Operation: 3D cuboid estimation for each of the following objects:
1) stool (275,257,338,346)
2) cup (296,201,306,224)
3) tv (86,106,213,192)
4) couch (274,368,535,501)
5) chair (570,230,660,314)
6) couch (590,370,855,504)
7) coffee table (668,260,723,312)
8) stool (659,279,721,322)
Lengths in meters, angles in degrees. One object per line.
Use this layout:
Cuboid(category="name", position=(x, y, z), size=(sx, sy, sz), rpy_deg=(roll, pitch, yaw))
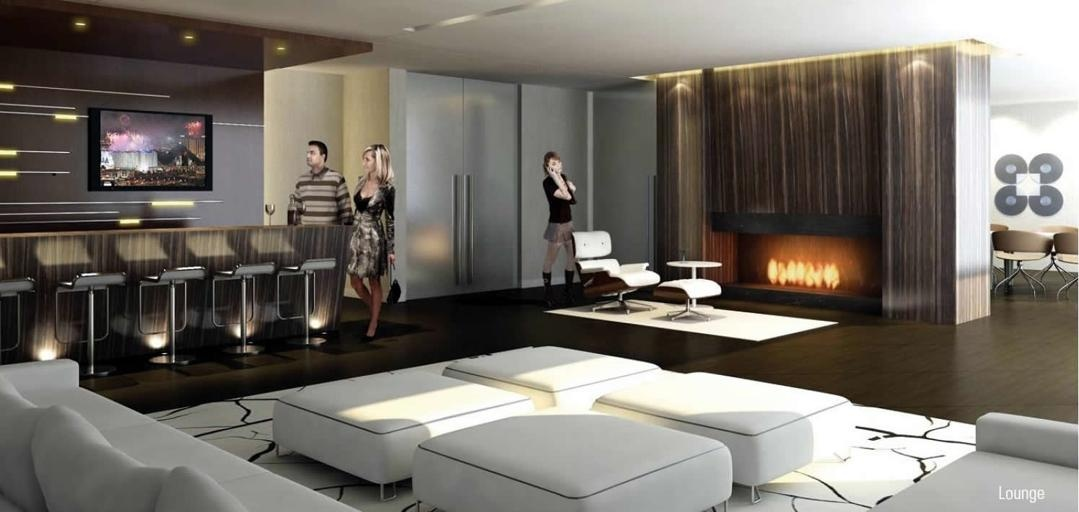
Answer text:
Cuboid(category="stool", position=(-3.402, 0.644, 9.151), size=(0.779, 1.213, 0.644), rpy_deg=(-8, 9, -29))
Cuboid(category="cup", position=(-3.667, -0.659, 9.656), size=(0.092, 0.287, 0.185), rpy_deg=(-4, 8, 0))
Cuboid(category="tv", position=(-6.419, -1.713, 10.416), size=(0.078, 1.314, 2.158), rpy_deg=(15, 13, 19))
Cuboid(category="couch", position=(-1.275, 1.417, 5.966), size=(1.485, 0.443, 1.488), rpy_deg=(-2, 2, -44))
Cuboid(category="chair", position=(1.309, 0.272, 11.078), size=(1.264, 1.160, 1.439), rpy_deg=(-7, 11, -43))
Cuboid(category="couch", position=(1.406, 1.938, 6.160), size=(1.990, 0.567, 1.810), rpy_deg=(-14, -13, 41))
Cuboid(category="coffee table", position=(2.807, 0.483, 11.450), size=(1.069, 0.618, 1.001), rpy_deg=(-3, 7, -28))
Cuboid(category="stool", position=(2.476, 0.765, 10.610), size=(0.794, 0.486, 0.954), rpy_deg=(-7, -3, 36))
